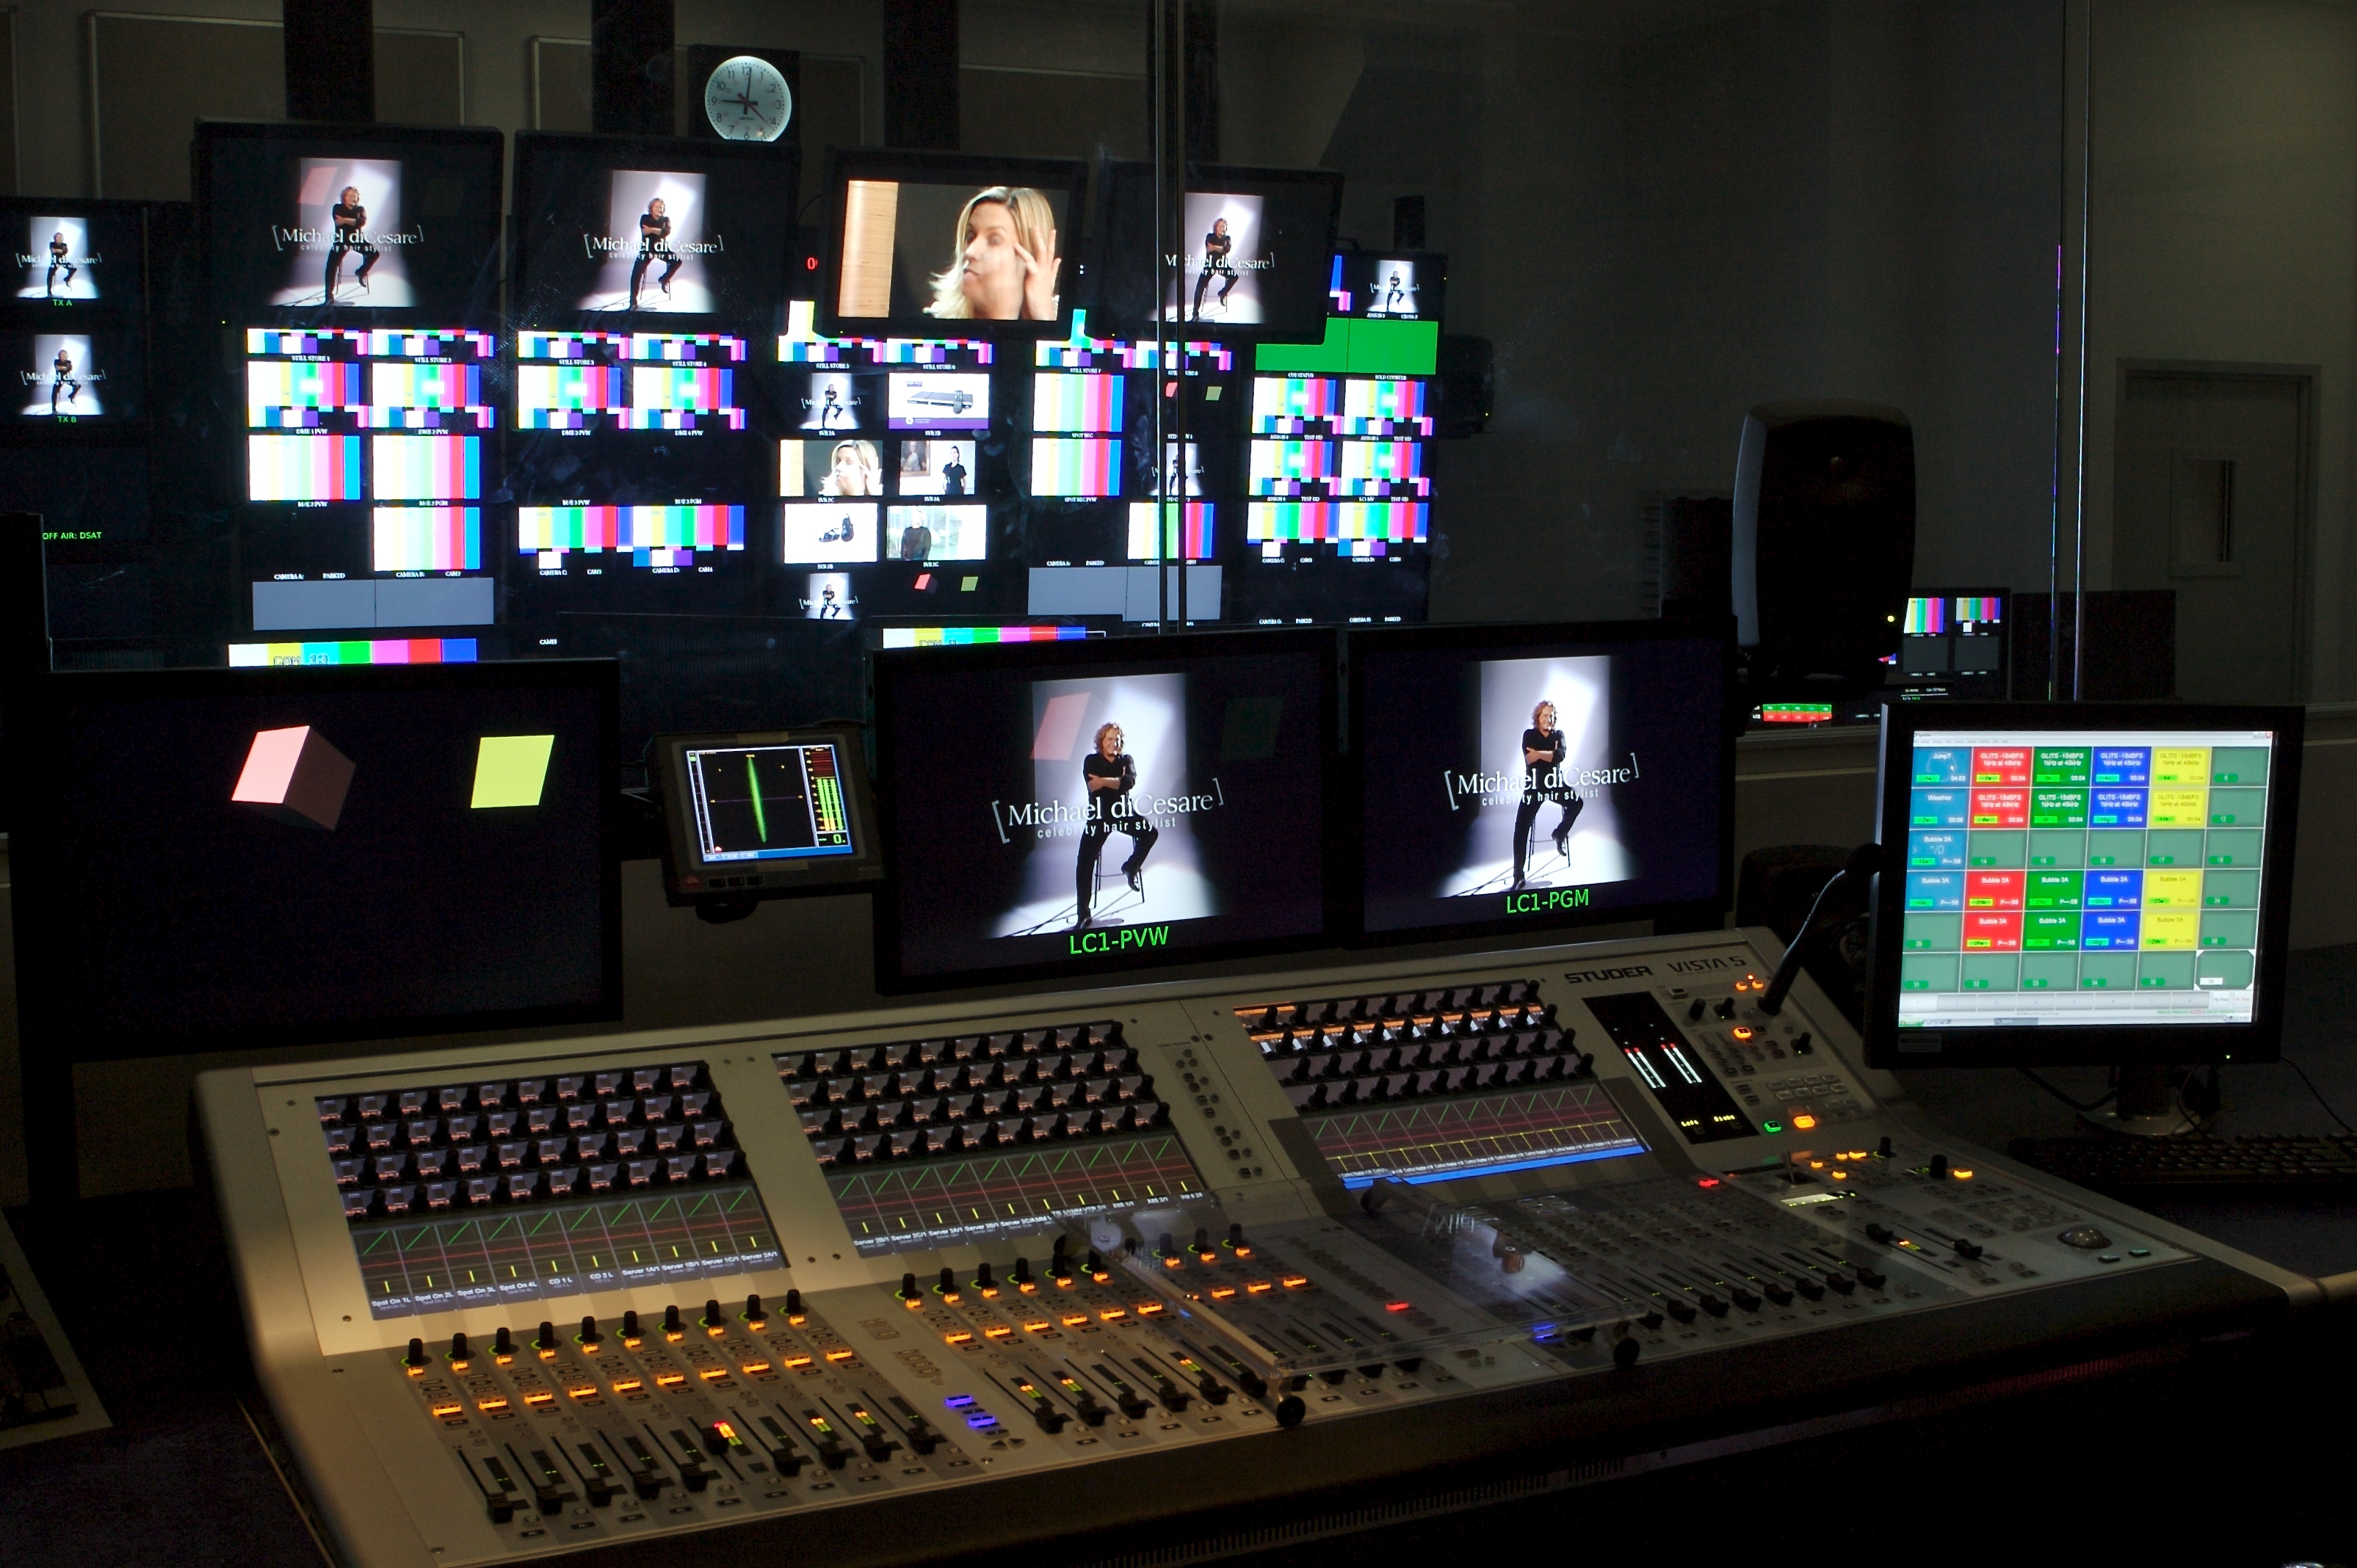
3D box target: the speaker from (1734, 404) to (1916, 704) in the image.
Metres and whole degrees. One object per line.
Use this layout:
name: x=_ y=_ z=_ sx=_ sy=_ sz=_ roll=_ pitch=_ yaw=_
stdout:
speaker: x=0.896 y=-0.308 z=2.884 sx=0.294 sy=0.454 sz=0.185 roll=-10 pitch=12 yaw=-31

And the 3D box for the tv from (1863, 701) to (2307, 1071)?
tv: x=1.117 y=0.122 z=2.546 sx=0.519 sy=0.375 sz=0.064 roll=1 pitch=2 yaw=-9
